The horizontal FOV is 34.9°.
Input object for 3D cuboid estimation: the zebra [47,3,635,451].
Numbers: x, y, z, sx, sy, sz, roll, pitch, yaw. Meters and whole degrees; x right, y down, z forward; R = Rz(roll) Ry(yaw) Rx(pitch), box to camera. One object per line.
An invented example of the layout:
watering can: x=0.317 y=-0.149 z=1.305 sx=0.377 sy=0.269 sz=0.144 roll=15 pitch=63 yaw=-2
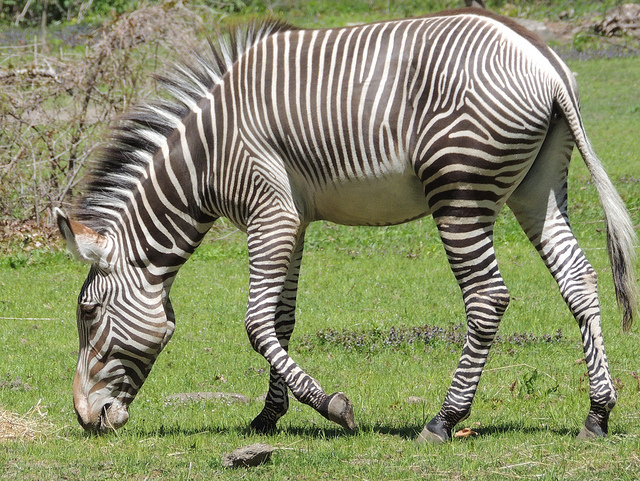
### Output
zebra: x=0.388 y=-0.434 z=11.064 sx=5.328 sy=4.140 sz=4.550 roll=3 pitch=15 yaw=11
